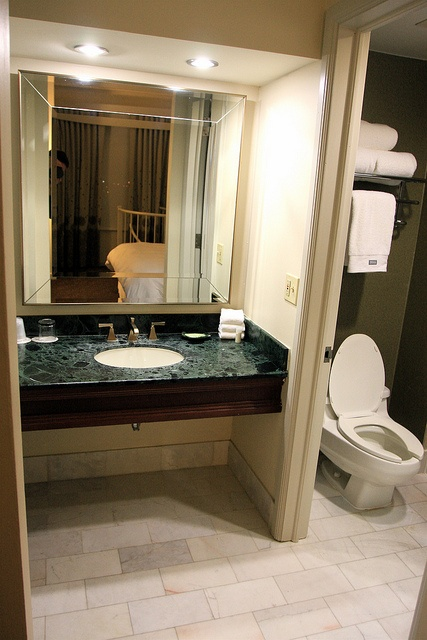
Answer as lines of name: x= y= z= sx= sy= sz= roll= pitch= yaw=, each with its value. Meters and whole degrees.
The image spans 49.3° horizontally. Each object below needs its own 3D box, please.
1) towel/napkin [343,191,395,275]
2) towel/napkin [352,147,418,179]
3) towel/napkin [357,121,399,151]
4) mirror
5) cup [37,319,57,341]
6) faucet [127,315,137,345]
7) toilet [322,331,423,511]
towel/napkin: x=0.722 y=-0.411 z=2.231 sx=0.264 sy=0.390 sz=0.097 roll=-4 pitch=14 yaw=-19
towel/napkin: x=0.805 y=-0.730 z=2.177 sx=0.338 sy=0.123 sz=0.051 roll=0 pitch=12 yaw=-24
towel/napkin: x=0.759 y=-0.848 z=2.164 sx=0.248 sy=0.122 sz=0.040 roll=-2 pitch=13 yaw=-30
mirror: x=-0.398 y=-0.623 z=2.067 sx=0.936 sy=1.059 sz=0.039 roll=-1 pitch=18 yaw=-21
cup: x=-0.741 y=0.053 z=2.067 sx=0.085 sy=0.103 sz=0.088 roll=4 pitch=14 yaw=-1
faucet: x=-0.379 y=0.045 z=2.193 sx=0.044 sy=0.097 sz=0.135 roll=2 pitch=12 yaw=-9
toilet: x=0.823 y=0.521 z=2.439 sx=0.472 sy=0.828 sz=0.672 roll=8 pitch=12 yaw=15
